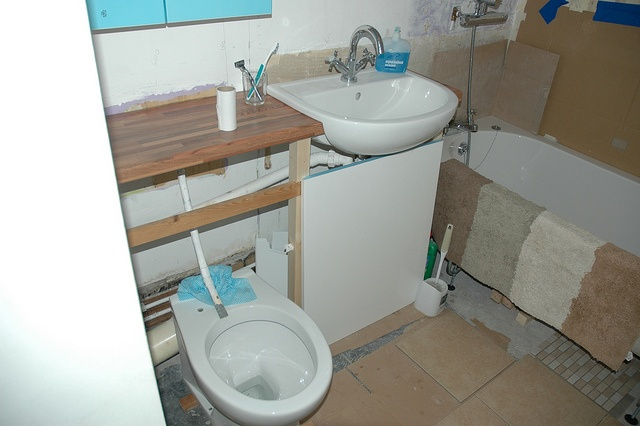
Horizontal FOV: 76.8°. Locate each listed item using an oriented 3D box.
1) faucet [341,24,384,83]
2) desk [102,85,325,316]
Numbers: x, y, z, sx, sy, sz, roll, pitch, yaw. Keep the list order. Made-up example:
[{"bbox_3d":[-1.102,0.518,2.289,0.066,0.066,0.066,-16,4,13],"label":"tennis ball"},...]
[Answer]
[{"bbox_3d":[0.193,-0.730,1.861,0.185,0.243,0.175,-35,60,-23],"label":"faucet"},{"bbox_3d":[-0.313,-0.037,1.898,0.926,1.040,0.562,-22,44,-29],"label":"desk"}]
